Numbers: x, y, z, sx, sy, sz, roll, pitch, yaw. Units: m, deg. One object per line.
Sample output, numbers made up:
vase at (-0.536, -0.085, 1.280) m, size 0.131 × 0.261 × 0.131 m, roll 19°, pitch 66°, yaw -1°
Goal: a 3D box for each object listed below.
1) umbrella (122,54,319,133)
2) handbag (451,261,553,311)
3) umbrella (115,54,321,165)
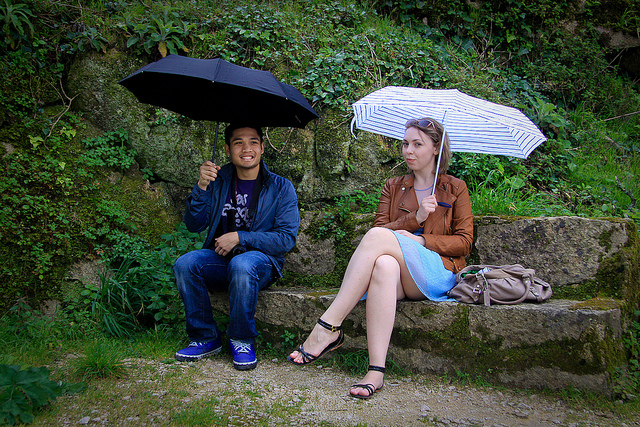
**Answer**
umbrella at (-1.045, -1.267, 5.054) m, size 1.885 × 0.684 × 0.780 m, roll 4°, pitch 14°, yaw 6°
handbag at (1.790, 0.647, 4.798) m, size 0.604 × 0.218 × 0.602 m, roll -1°, pitch 1°, yaw 1°
umbrella at (-1.047, -1.265, 5.049) m, size 1.896 × 0.685 × 0.767 m, roll 4°, pitch 14°, yaw 5°
